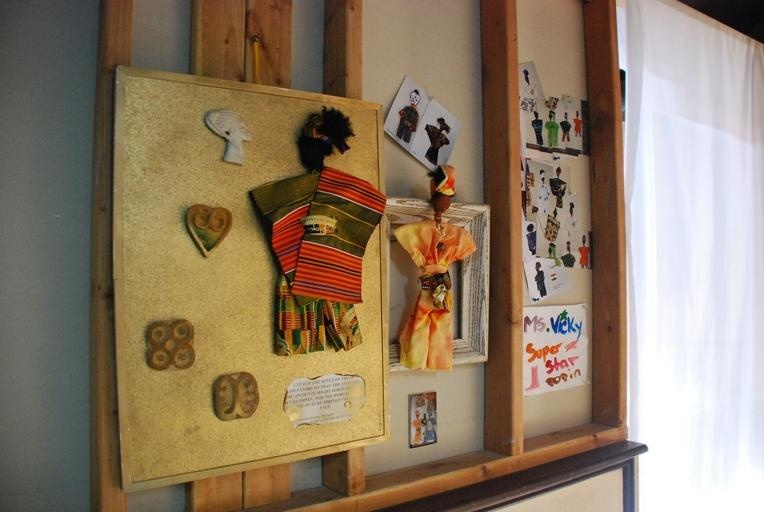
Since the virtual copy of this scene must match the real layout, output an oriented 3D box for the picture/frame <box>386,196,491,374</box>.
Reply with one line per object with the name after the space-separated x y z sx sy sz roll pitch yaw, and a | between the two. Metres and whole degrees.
0.203 0.104 3.537 0.637 0.773 0.123 1 -4 -32 | picture/frame
